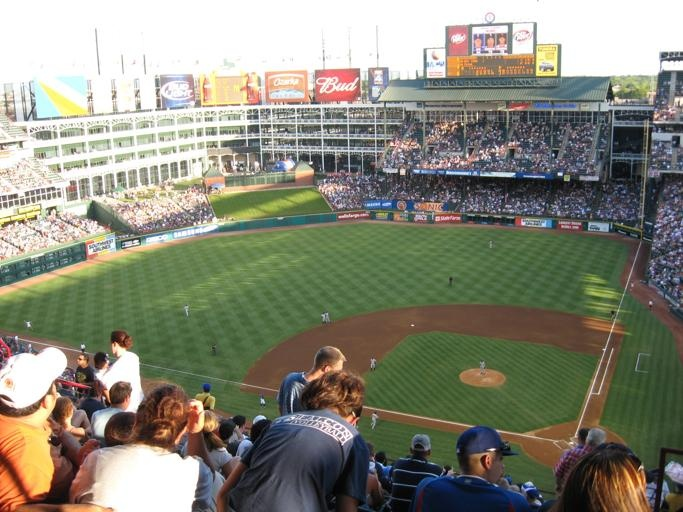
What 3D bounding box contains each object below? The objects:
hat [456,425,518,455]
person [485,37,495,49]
[{"bbox_3d":[1.706,2.275,7.724,0.587,0.312,0.393,-3,0,-16],"label":"hat"},{"bbox_3d":[15.643,-22.676,68.170,0.780,1.067,0.949,2,12,11],"label":"person"}]
